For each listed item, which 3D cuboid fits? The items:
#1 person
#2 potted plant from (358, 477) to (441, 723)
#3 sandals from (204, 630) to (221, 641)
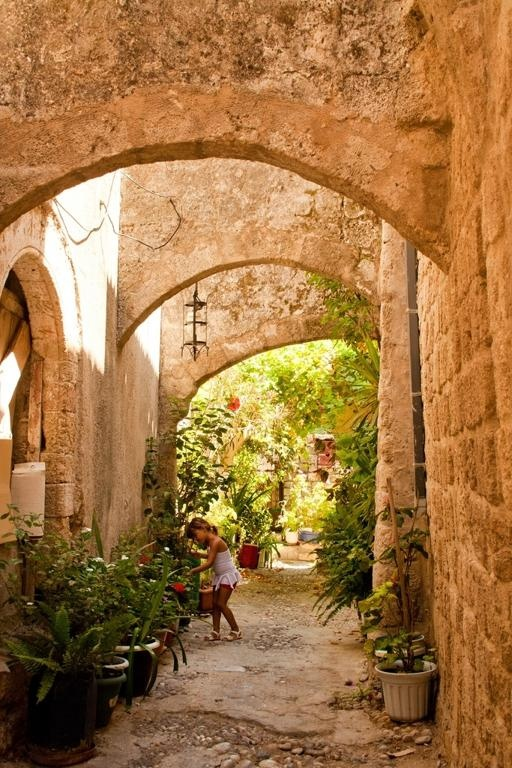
[{"bbox_3d":[-0.378,1.657,5.666,0.535,0.435,1.024,9,27,-9],"label":"person"},{"bbox_3d":[0.671,1.004,3.247,0.329,1.074,0.761,-2,-8,12],"label":"potted plant"},{"bbox_3d":[-0.326,1.916,5.143,0.059,0.057,0.122,-2,-15,11],"label":"sandals"}]
